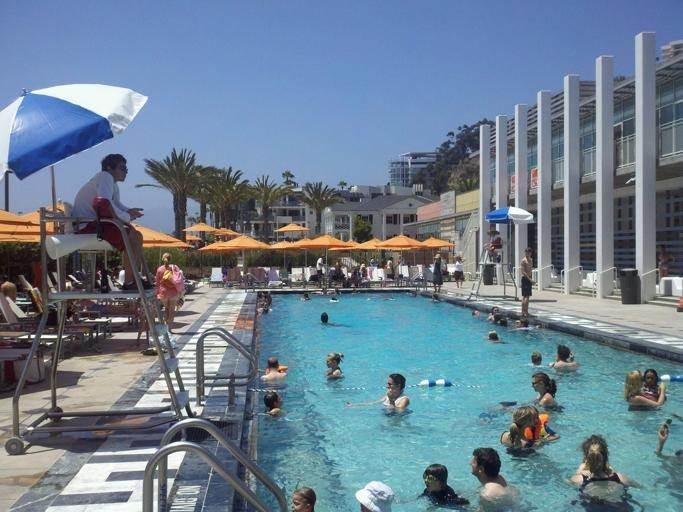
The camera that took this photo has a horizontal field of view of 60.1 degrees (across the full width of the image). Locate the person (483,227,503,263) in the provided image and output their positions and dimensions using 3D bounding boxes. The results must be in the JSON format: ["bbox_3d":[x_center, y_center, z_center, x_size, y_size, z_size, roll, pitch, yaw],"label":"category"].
[{"bbox_3d":[6.978,-0.553,26.954,0.760,1.470,0.706,-3,20,6],"label":"person"}]

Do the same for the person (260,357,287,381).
[{"bbox_3d":[-1.334,2.325,11.656,0.421,0.722,0.410,-2,41,-9],"label":"person"}]

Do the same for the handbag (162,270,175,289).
[{"bbox_3d":[-3.740,0.518,12.768,0.359,0.434,0.227,-3,-2,-16],"label":"handbag"}]

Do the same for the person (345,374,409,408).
[{"bbox_3d":[0.679,2.337,10.034,0.959,0.717,0.510,0,10,18],"label":"person"}]

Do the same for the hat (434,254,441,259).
[{"bbox_3d":[5.506,-0.012,33.985,0.338,0.161,0.414,-2,0,2],"label":"hat"}]

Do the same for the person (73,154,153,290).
[{"bbox_3d":[-2.653,-0.391,6.785,0.819,1.583,0.633,-1,-2,-22],"label":"person"}]

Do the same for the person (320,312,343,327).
[{"bbox_3d":[-0.305,1.996,18.911,0.687,0.432,1.262,-1,0,-1],"label":"person"}]
